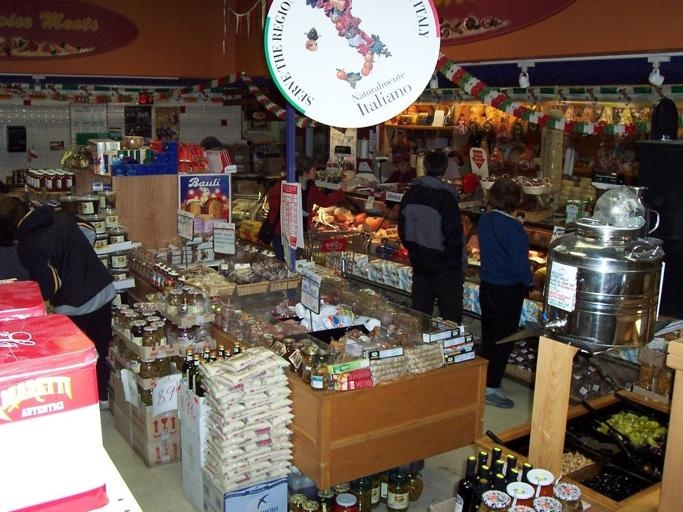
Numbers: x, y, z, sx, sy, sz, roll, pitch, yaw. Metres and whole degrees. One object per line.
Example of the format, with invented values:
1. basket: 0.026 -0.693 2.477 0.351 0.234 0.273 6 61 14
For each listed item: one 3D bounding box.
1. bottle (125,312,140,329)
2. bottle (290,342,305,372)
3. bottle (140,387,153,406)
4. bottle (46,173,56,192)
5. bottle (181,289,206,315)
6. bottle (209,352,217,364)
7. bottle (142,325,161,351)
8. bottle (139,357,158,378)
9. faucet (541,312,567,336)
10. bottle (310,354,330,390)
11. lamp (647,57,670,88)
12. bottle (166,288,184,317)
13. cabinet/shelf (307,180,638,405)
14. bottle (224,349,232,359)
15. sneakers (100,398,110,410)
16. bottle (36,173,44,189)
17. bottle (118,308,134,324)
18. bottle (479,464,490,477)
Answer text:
1. bottle: -1.688 0.512 4.302 0.122 0.127 0.134 4 3 -4
2. bottle: -0.296 0.662 3.467 0.038 0.133 0.137 2 35 -24
3. bottle: -1.563 1.112 4.271 0.123 0.133 0.120 2 -2 -18
4. bottle: -4.126 -1.041 7.561 0.134 0.206 0.178 -9 15 -22
5. bottle: -1.156 0.355 4.201 0.189 0.155 0.186 0 12 -9
6. bottle: -0.880 0.689 3.633 0.041 0.064 0.041 3 23 -1
7. bottle: -1.477 0.619 4.111 0.162 0.245 0.154 5 13 -1
8. bottle: -1.520 0.885 4.281 0.134 0.145 0.133 2 3 19
9. faucet: 0.839 0.266 2.111 0.028 0.093 0.109 -11 16 -27
10. bottle: -0.139 0.714 3.279 0.123 0.189 0.120 2 17 -1
11. lamp: 3.136 -1.844 5.285 0.182 0.270 0.528 4 16 29
12. bottle: -1.325 0.365 4.232 0.192 0.178 0.189 4 9 -6
13. cabinet/shelf: 0.986 0.294 4.129 0.646 1.188 2.204 3 13 -43
14. bottle: -0.806 0.684 3.753 0.048 0.079 0.044 4 19 -1
15. sneakers: -2.305 1.439 5.185 0.071 0.075 0.120 0 17 -20
16. bottle: -4.285 -1.073 7.574 0.058 0.219 0.235 -1 13 -22
17. bottle: -1.780 0.489 4.392 0.125 0.114 0.125 -7 23 -44
18. bottle: 0.650 0.974 2.437 0.055 0.049 0.054 7 21 15
